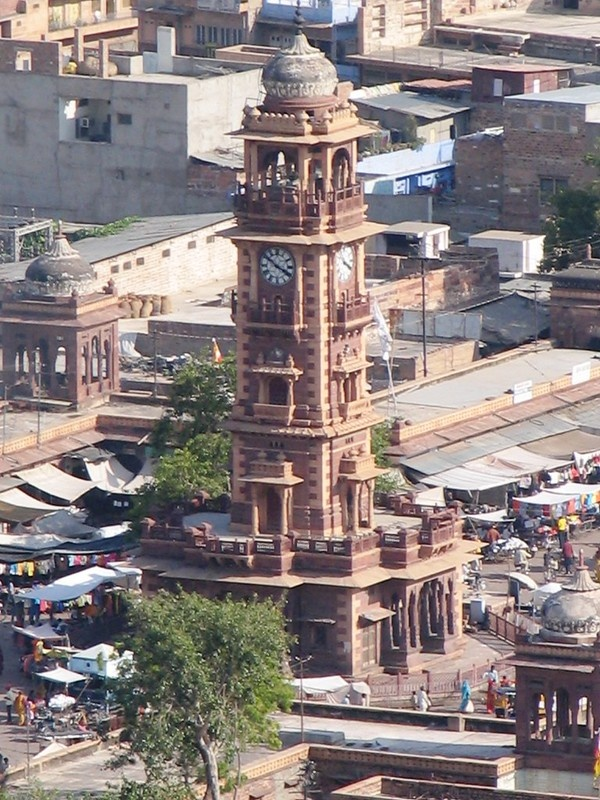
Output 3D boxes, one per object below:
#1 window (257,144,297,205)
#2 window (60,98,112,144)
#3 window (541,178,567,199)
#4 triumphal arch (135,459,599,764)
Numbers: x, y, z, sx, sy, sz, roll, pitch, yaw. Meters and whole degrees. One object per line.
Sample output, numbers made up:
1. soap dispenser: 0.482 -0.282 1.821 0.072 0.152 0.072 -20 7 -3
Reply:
1. window: -0.475 -6.222 85.798 0.867 1.385 0.872 9 6 24
2. window: -10.115 -13.303 152.724 0.761 2.092 2.145 2 7 32
3. window: 11.478 -9.560 144.683 1.358 1.475 0.127 13 24 34
4. triumphal arch: 1.922 7.398 85.114 8.003 3.166 8.395 4 11 27
